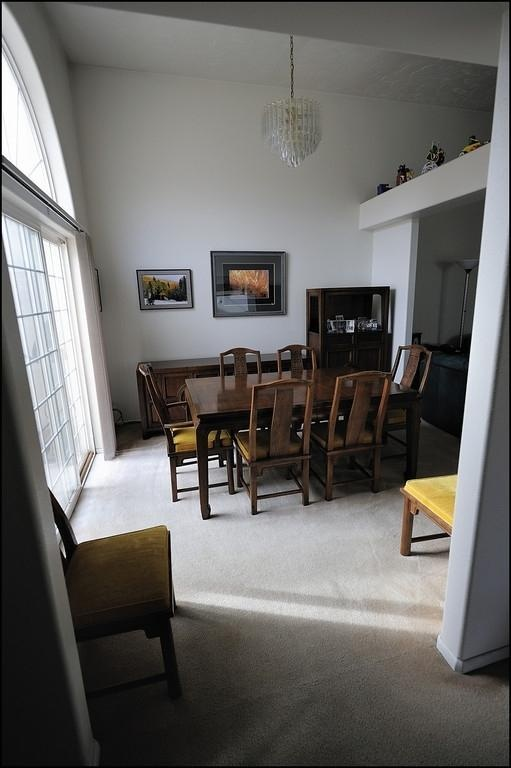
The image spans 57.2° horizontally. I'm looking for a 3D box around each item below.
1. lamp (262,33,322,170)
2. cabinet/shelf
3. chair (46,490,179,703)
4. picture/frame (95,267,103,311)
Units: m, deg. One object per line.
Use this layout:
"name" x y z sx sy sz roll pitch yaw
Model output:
"lamp" 0.251 -2.015 3.239 0.316 1.177 0.379 -1 -7 5
"cabinet/shelf" 1.008 -0.491 5.137 0.603 1.193 0.321 -4 7 0
"chair" -0.480 0.738 1.712 0.421 0.689 0.514 -7 13 -28
"picture/frame" -1.464 -0.889 4.422 0.038 0.407 0.323 -4 12 -16
